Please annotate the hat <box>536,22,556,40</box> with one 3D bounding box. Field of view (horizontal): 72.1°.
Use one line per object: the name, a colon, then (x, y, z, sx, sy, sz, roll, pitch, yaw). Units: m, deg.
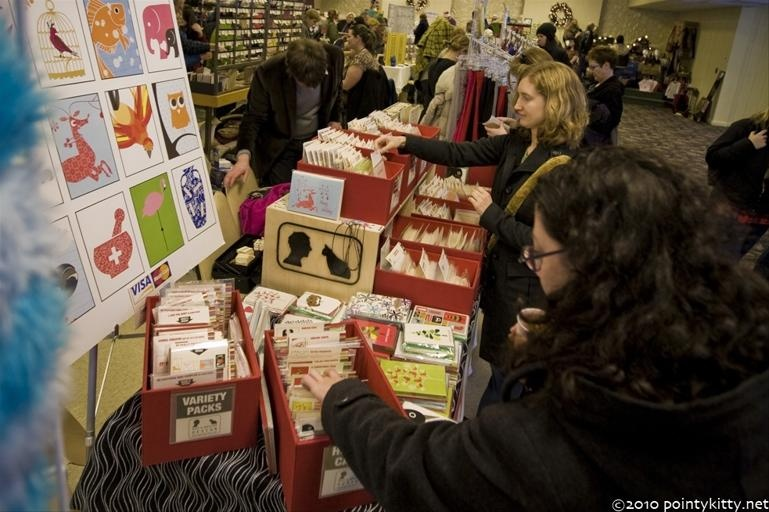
hat: (2.494, -3.425, 8.073, 0.259, 0.204, 0.225, 4, 23, 2)
